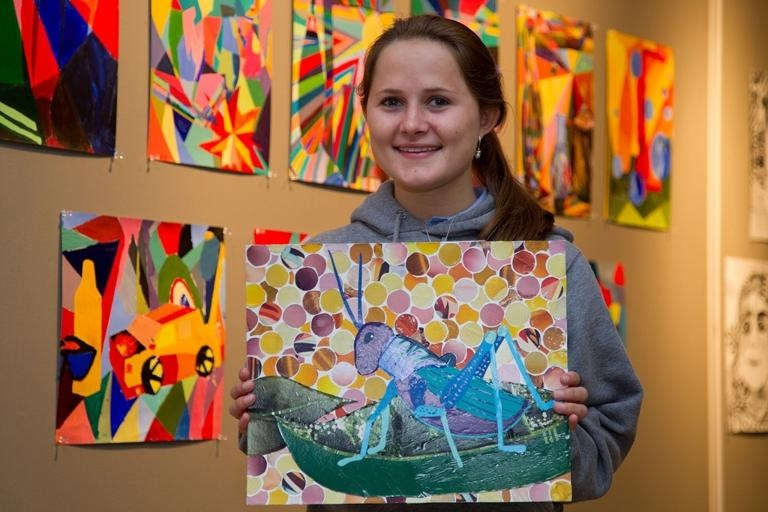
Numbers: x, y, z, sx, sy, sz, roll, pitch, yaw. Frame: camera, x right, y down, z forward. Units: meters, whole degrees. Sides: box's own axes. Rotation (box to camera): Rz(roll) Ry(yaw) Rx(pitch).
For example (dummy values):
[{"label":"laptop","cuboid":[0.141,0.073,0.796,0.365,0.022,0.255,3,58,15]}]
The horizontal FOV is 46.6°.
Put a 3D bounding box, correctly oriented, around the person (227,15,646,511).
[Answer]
[{"label":"person","cuboid":[0.251,0.016,2.659,0.979,1.478,0.410,-2,-3,18]}]
